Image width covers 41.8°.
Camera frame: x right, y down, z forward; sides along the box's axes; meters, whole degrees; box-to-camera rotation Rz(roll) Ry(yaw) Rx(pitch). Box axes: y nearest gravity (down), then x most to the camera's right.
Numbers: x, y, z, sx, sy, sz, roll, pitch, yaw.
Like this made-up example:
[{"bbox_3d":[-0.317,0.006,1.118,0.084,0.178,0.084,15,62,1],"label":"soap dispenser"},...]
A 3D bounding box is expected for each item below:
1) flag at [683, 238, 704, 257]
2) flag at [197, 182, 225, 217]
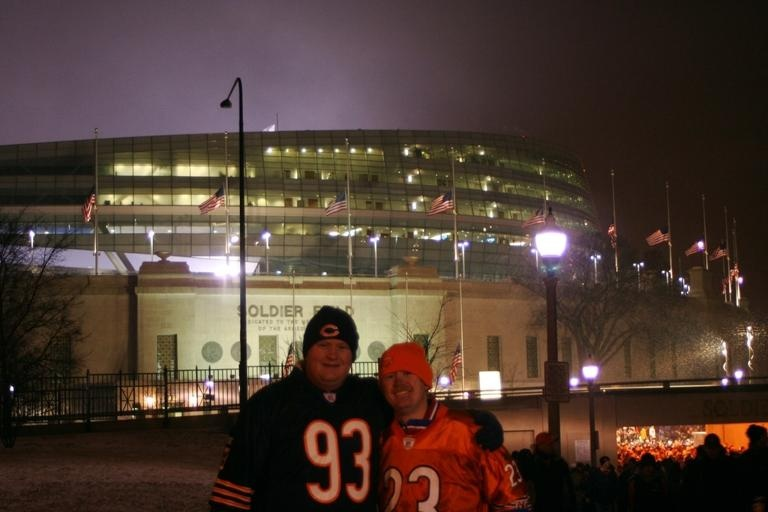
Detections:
[{"bbox_3d":[21.845,-0.379,70.287,0.853,0.652,1.289,14,-43,-32],"label":"flag"},{"bbox_3d":[-14.014,-4.309,81.337,3.444,3.282,0.397,-11,-8,38],"label":"flag"}]
